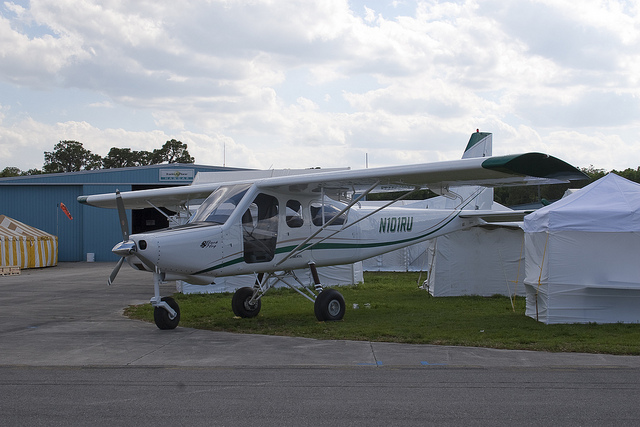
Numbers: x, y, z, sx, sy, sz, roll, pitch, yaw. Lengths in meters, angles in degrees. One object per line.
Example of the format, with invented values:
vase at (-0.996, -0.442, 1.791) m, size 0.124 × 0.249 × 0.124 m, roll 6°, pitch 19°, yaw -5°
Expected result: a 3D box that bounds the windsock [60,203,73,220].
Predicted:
windsock at (-17.319, -0.163, 38.968) m, size 0.751 × 1.106 × 1.387 m, roll -2°, pitch 2°, yaw -24°
